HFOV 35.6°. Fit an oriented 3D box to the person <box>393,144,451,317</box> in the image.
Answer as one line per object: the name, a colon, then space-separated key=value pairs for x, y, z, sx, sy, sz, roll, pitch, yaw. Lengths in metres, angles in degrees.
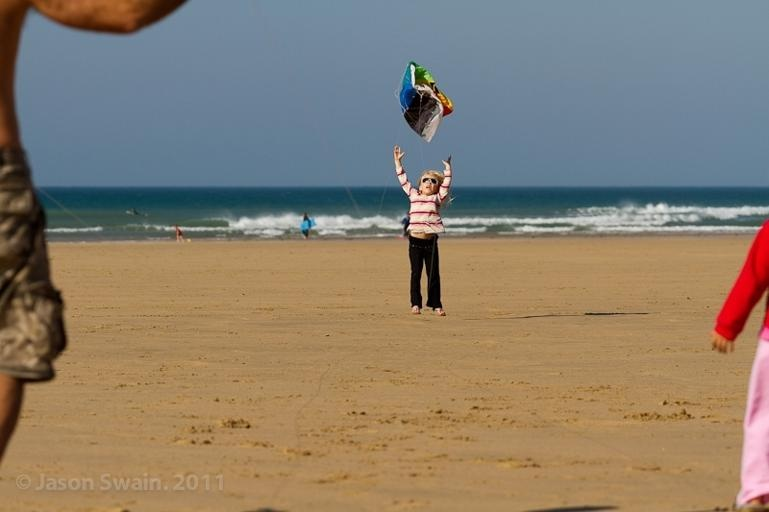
person: x=0.494 y=-0.285 z=16.802 sx=0.754 sy=2.433 sz=0.929 roll=0 pitch=20 yaw=1

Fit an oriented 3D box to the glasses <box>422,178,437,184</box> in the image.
glasses: x=0.586 y=-1.064 z=16.609 sx=0.188 sy=0.075 sz=0.053 roll=1 pitch=20 yaw=5

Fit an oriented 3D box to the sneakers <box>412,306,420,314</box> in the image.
sneakers: x=0.386 y=0.758 z=16.891 sx=0.088 sy=0.107 sz=0.120 roll=-3 pitch=-10 yaw=40

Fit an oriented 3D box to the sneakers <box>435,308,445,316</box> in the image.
sneakers: x=0.742 y=0.780 z=16.770 sx=0.065 sy=0.063 sz=0.163 roll=2 pitch=5 yaw=-5
